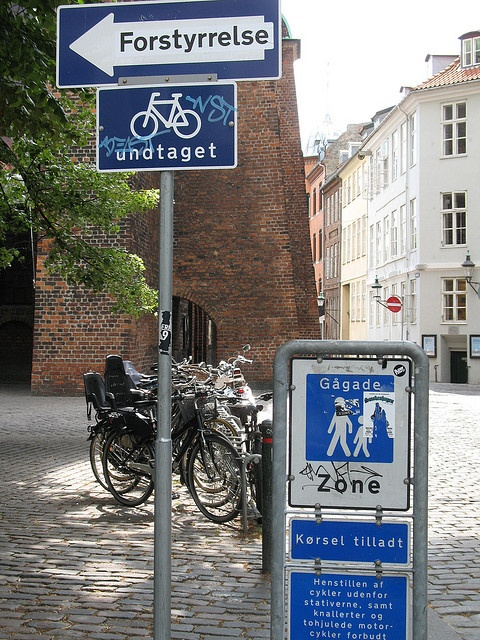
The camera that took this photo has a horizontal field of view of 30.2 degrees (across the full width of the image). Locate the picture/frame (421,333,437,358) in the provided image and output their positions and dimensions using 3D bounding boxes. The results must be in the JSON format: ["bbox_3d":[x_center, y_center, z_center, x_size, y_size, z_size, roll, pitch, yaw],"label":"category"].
[{"bbox_3d":[6.910,0.946,32.078,0.378,0.814,0.755,2,-3,-5],"label":"picture/frame"}]

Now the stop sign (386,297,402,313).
[{"bbox_3d":[5.267,-0.528,29.936,0.659,0.694,0.111,2,-7,-39],"label":"stop sign"}]
